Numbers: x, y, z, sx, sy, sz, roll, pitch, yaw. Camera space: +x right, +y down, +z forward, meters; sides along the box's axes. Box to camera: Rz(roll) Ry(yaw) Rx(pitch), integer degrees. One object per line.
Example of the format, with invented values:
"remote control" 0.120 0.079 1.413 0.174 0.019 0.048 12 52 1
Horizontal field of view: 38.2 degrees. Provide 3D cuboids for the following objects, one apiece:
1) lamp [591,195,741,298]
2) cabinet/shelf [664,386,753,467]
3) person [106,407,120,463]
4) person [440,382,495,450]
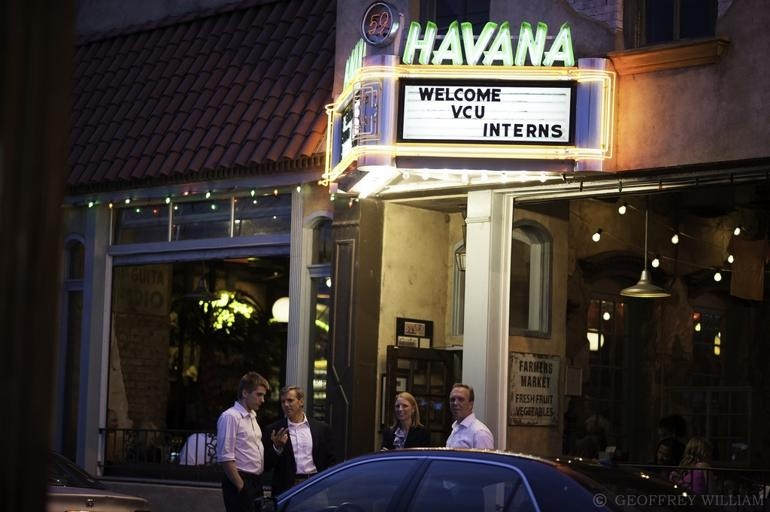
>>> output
"lamp" 4.822 -0.140 19.353 1.442 1.759 0.408 1 -4 4
"cabinet/shelf" 5.598 3.034 19.343 1.263 1.379 0.508 -5 -6 31
"person" -4.620 3.056 18.785 0.201 0.933 0.172 5 -9 -23
"person" 0.974 1.997 13.294 0.452 0.862 0.833 12 -14 -32
